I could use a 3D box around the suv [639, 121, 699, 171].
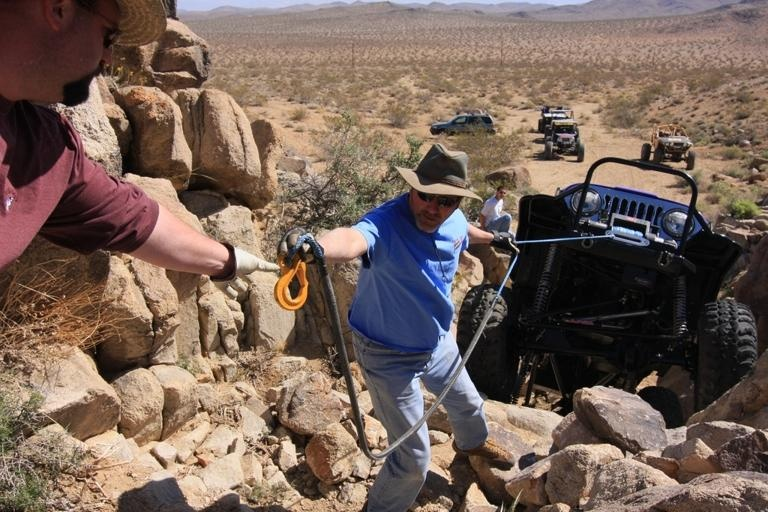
[{"bbox_3d":[10.417,-4.078,23.076,1.463,1.529,2.375,3,14,7],"label":"suv"}]

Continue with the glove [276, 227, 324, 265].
[{"bbox_3d":[-0.516,-0.064,3.846,0.192,0.128,0.260,4,6,3],"label":"glove"}]

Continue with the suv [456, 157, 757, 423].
[{"bbox_3d":[2.961,0.708,8.180,2.963,2.699,3.943,5,-9,26],"label":"suv"}]

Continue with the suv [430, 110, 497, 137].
[{"bbox_3d":[3.230,-5.246,26.159,2.415,1.144,1.386,4,18,6],"label":"suv"}]

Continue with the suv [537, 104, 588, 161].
[{"bbox_3d":[6.938,-4.680,25.124,1.522,1.772,4.864,-1,21,3],"label":"suv"}]

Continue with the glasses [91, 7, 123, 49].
[{"bbox_3d":[-1.470,-1.221,3.354,0.049,0.159,0.146,-13,11,-25],"label":"glasses"}]

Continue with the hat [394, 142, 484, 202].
[{"bbox_3d":[0.472,-0.681,4.981,0.766,0.371,0.879,20,10,7],"label":"hat"}]
